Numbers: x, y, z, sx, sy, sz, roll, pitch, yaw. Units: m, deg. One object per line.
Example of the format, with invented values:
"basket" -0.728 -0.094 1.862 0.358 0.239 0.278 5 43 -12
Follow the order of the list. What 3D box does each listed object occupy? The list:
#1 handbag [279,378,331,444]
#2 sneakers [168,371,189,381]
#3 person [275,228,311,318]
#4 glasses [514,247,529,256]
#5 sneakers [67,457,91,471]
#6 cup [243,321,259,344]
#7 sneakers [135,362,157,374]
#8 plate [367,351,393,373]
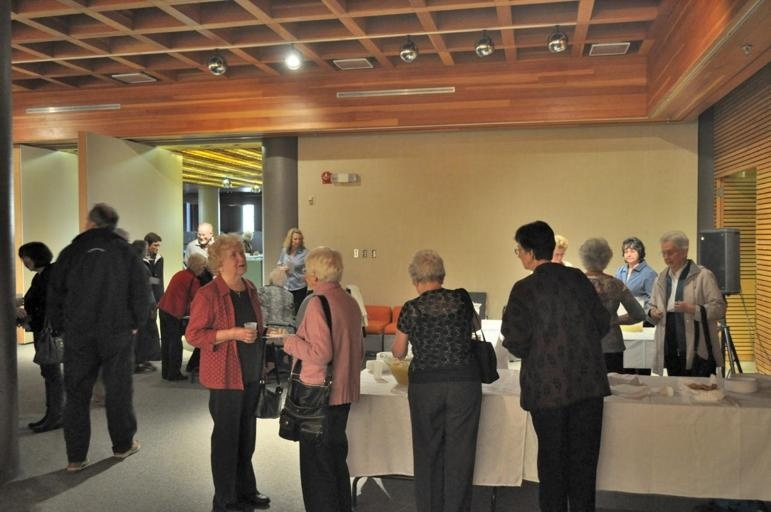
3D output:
"handbag" -0.674 1.230 5.120 0.397 0.527 0.289 8 2 1
"sneakers" -2.939 1.699 8.902 0.274 0.198 0.100 -4 9 -25
"person" -1.425 0.406 9.869 0.551 1.654 0.519 6 12 13
"glasses" 1.164 -0.049 5.369 0.101 0.033 0.096 14 -8 -30
"sneakers" -3.073 2.107 6.309 0.080 0.102 0.223 3 5 20
"cup" -1.124 0.662 5.393 0.162 0.181 0.166 0 -4 0
"sneakers" -3.551 1.669 9.362 0.117 0.150 0.330 5 7 33
"plate" -0.062 0.990 5.805 0.203 0.076 0.209 1 3 21
